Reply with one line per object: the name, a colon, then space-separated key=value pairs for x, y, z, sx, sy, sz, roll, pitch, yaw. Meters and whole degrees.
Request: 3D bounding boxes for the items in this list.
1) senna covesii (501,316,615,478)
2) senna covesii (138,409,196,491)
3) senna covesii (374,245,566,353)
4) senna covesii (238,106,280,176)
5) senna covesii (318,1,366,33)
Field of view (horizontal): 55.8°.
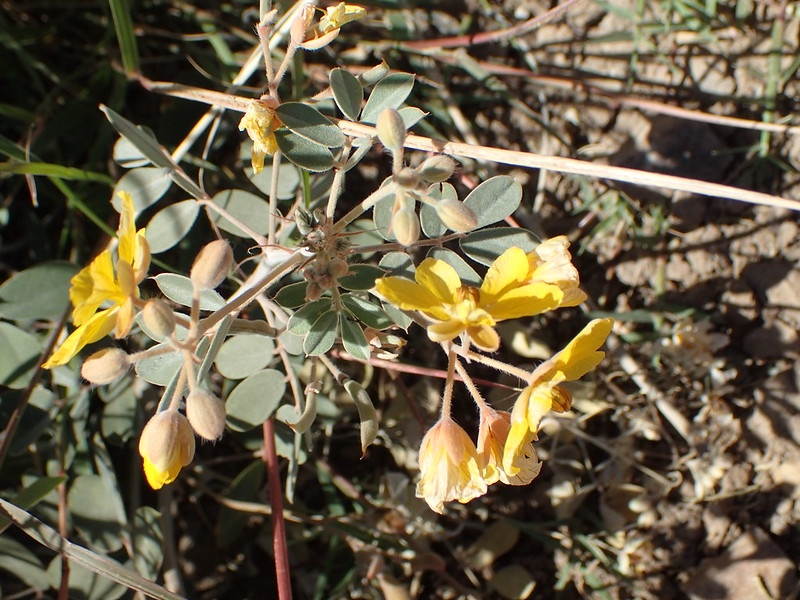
senna covesii: x=0.339 y=0.206 z=1.704 sx=0.104 sy=0.192 sz=0.419 roll=35 pitch=80 yaw=20
senna covesii: x=-0.504 y=0.317 z=1.637 sx=0.121 sy=0.170 sz=0.051 roll=11 pitch=-2 yaw=-38
senna covesii: x=0.190 y=0.022 z=1.748 sx=0.429 sy=0.158 sz=0.512 roll=10 pitch=-4 yaw=-21
senna covesii: x=-0.323 y=-0.380 z=1.803 sx=0.106 sy=0.155 sz=0.054 roll=22 pitch=35 yaw=31
senna covesii: x=-0.136 y=-0.667 z=1.773 sx=0.104 sy=0.049 sz=0.073 roll=9 pitch=38 yaw=47
